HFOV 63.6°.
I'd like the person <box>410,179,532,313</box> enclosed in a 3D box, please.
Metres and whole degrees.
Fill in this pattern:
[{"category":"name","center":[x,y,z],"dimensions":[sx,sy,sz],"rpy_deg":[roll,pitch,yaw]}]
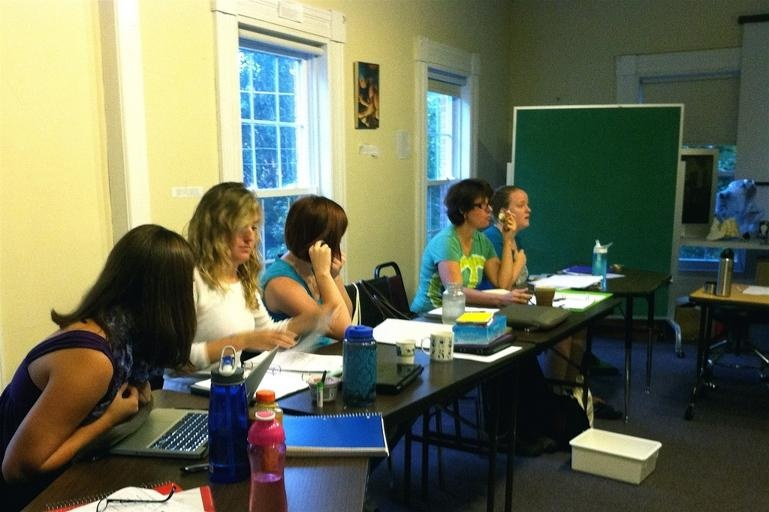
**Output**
[{"category":"person","center":[0.434,-0.095,4.107],"dimensions":[0.874,0.951,0.708],"rpy_deg":[-1,4,24]}]

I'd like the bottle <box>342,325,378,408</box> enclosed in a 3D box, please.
[{"category":"bottle","center":[-0.095,0.414,2.345],"dimensions":[0.131,0.278,0.136],"rpy_deg":[0,14,0]}]

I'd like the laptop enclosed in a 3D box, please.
[{"category":"laptop","center":[-0.680,0.466,2.155],"dimensions":[0.373,0.233,0.375],"rpy_deg":[3,6,7]}]

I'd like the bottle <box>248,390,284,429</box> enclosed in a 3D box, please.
[{"category":"bottle","center":[-0.393,0.491,2.064],"dimensions":[0.127,0.142,0.130],"rpy_deg":[1,2,-11]}]

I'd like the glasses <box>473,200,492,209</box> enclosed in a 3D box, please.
[{"category":"glasses","center":[0.626,-0.326,3.941],"dimensions":[0.152,0.048,0.034],"rpy_deg":[-11,18,-41]}]

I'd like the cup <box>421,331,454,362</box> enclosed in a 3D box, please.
[{"category":"cup","center":[0.244,0.394,2.747],"dimensions":[0.136,0.101,0.089],"rpy_deg":[1,2,30]}]

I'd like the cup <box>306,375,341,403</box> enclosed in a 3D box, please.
[{"category":"cup","center":[-0.230,0.501,2.381],"dimensions":[0.125,0.085,0.112],"rpy_deg":[-1,13,-6]}]

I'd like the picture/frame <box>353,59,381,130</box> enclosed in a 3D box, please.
[{"category":"picture/frame","center":[-0.133,-1.283,4.965],"dimensions":[0.095,0.521,0.397],"rpy_deg":[7,15,26]}]

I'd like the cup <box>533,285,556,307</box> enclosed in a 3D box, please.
[{"category":"cup","center":[0.874,0.223,3.383],"dimensions":[0.105,0.109,0.100],"rpy_deg":[-2,3,0]}]

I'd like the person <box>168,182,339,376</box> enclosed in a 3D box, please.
[{"category":"person","center":[-0.538,0.037,3.230],"dimensions":[0.849,1.159,0.698],"rpy_deg":[-3,4,-8]}]

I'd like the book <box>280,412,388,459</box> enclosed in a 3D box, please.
[{"category":"book","center":[-0.178,0.621,2.162],"dimensions":[0.368,0.065,0.217],"rpy_deg":[0,13,-2]}]

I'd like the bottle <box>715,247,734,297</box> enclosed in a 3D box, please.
[{"category":"bottle","center":[2.344,0.104,4.245],"dimensions":[0.094,0.303,0.276],"rpy_deg":[8,15,29]}]

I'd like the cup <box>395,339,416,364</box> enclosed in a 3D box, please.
[{"category":"cup","center":[0.089,0.399,2.586],"dimensions":[0.080,0.069,0.090],"rpy_deg":[1,-6,-2]}]

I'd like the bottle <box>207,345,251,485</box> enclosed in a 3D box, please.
[{"category":"bottle","center":[-0.502,0.507,1.968],"dimensions":[0.136,0.394,0.189],"rpy_deg":[-3,14,-16]}]

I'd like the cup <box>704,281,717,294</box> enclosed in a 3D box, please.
[{"category":"cup","center":[2.288,0.220,4.329],"dimensions":[0.077,0.075,0.103],"rpy_deg":[-1,1,-6]}]
